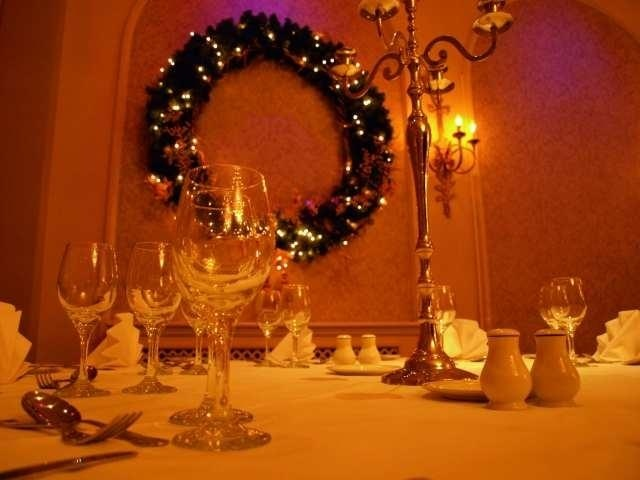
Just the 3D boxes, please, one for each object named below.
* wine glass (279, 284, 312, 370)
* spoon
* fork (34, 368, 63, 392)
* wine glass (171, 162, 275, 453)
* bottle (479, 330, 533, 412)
[{"bbox_3d":[-0.066,0.241,1.594,0.072,0.217,0.156,0,-8,-1],"label":"wine glass"},{"bbox_3d":[-0.337,0.235,0.837,0.309,0.053,0.089,-5,0,41],"label":"spoon"},{"bbox_3d":[-0.604,0.309,1.254,0.039,0.036,0.071,7,-25,-33],"label":"fork"},{"bbox_3d":[-0.156,0.099,0.897,0.147,0.411,0.206,2,-8,-13],"label":"wine glass"},{"bbox_3d":[0.306,0.205,0.943,0.105,0.168,0.114,-1,-5,0],"label":"bottle"}]
